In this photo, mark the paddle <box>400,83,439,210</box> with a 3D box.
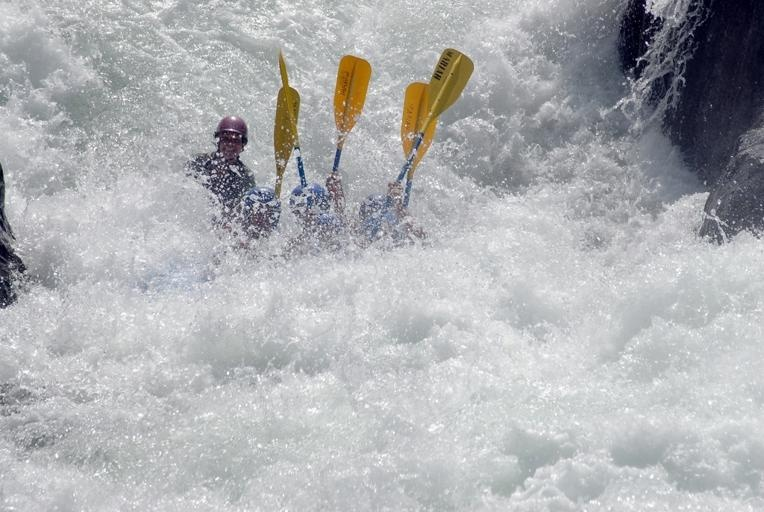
[{"bbox_3d":[0.319,-1.070,11.344,0.395,1.683,0.182,13,39,13],"label":"paddle"}]

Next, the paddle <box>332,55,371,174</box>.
[{"bbox_3d":[-0.357,-1.529,10.957,0.326,1.334,0.149,13,22,0],"label":"paddle"}]

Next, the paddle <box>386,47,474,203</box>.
[{"bbox_3d":[0.572,-1.516,11.269,0.367,1.572,0.166,15,53,-9],"label":"paddle"}]

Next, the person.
[{"bbox_3d":[-0.812,-0.541,11.030,2.159,0.578,1.051,25,71,10],"label":"person"}]

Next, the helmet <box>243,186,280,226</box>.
[{"bbox_3d":[-1.256,-0.540,10.916,0.362,0.347,0.363,9,16,-14],"label":"helmet"}]
